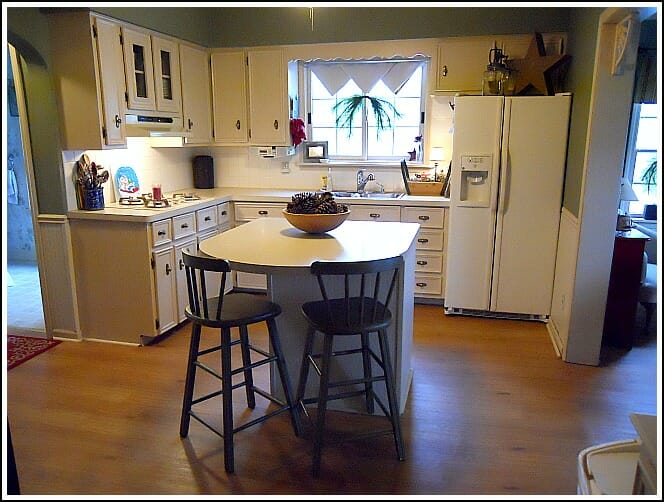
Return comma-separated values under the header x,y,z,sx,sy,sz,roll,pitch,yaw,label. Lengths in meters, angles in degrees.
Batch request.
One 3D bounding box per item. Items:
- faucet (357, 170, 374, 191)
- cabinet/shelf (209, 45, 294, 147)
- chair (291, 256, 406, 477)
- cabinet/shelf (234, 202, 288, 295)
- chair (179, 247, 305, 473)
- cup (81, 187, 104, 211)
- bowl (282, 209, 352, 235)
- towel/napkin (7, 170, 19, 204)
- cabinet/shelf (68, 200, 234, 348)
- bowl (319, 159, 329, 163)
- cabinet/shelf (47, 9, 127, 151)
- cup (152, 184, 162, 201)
x,y,z,sx,sy,sz,roll,pitch,yaw,label
0.378,-0.781,5.405,0.196,0.239,0.150,0,14,1,faucet
-0.841,-1.700,5.206,1.029,1.214,0.420,1,10,6,cabinet/shelf
0.108,0.559,2.836,0.645,1.182,0.706,-1,14,-5,chair
-0.760,-0.136,5.301,0.694,0.707,1.102,-12,13,-5,cabinet/shelf
-0.579,0.589,2.898,0.632,1.130,0.532,-9,15,-39,chair
-1.955,-0.423,4.022,0.189,0.212,0.188,1,5,0,cup
-0.103,-0.187,3.156,0.402,0.151,0.200,-1,14,-3,bowl
-3.940,-0.785,6.020,0.130,0.451,0.203,-9,17,-31,towel/napkin
-1.724,0.147,4.690,0.766,1.066,1.447,2,9,4,cabinet/shelf
-0.094,-1.029,5.597,0.112,0.044,0.093,0,14,-2,bowl
-1.886,-1.338,3.840,0.521,1.044,0.306,-8,16,-27,cabinet/shelf
-1.573,-0.517,4.383,0.072,0.123,0.071,0,14,0,cup
